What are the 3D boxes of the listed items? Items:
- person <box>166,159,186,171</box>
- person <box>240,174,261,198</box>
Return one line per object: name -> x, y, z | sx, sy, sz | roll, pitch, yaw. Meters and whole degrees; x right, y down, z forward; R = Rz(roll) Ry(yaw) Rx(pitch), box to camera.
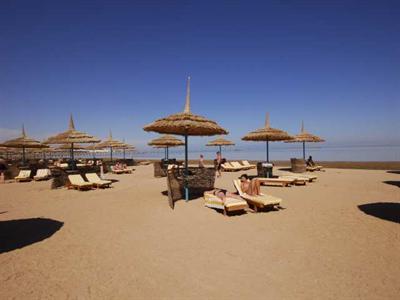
person -> -1.467, 0.966, 18.144 | 1.092, 0.987, 0.788 | -2, -2, 13
person -> 1.859, 1.294, 10.283 | 0.587, 0.881, 0.786 | -5, -16, -28
